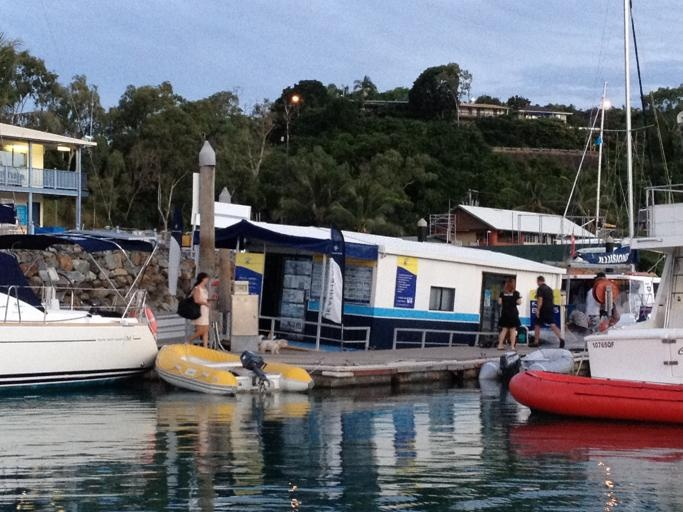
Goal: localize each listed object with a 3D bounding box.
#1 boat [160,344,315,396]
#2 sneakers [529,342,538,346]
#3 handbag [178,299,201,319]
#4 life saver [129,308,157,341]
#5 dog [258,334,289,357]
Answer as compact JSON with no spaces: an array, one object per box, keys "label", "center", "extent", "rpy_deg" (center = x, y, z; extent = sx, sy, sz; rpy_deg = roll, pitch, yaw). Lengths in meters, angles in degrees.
[{"label":"boat","center":[-3.022,2.947,32.730],"extent":[3.959,1.290,1.128],"rpy_deg":[0,-1,-2]},{"label":"sneakers","center":[5.825,2.625,37.518],"extent":[0.335,0.149,0.117],"rpy_deg":[3,4,43]},{"label":"handbag","center":[-4.128,1.393,33.602],"extent":[0.434,0.495,0.214],"rpy_deg":[6,10,8]},{"label":"life saver","center":[-5.350,1.732,33.790],"extent":[0.641,1.019,0.279],"rpy_deg":[-6,-5,-29]},{"label":"dog","center":[-1.842,2.496,35.122],"extent":[1.002,0.577,0.331],"rpy_deg":[6,1,-39]}]
